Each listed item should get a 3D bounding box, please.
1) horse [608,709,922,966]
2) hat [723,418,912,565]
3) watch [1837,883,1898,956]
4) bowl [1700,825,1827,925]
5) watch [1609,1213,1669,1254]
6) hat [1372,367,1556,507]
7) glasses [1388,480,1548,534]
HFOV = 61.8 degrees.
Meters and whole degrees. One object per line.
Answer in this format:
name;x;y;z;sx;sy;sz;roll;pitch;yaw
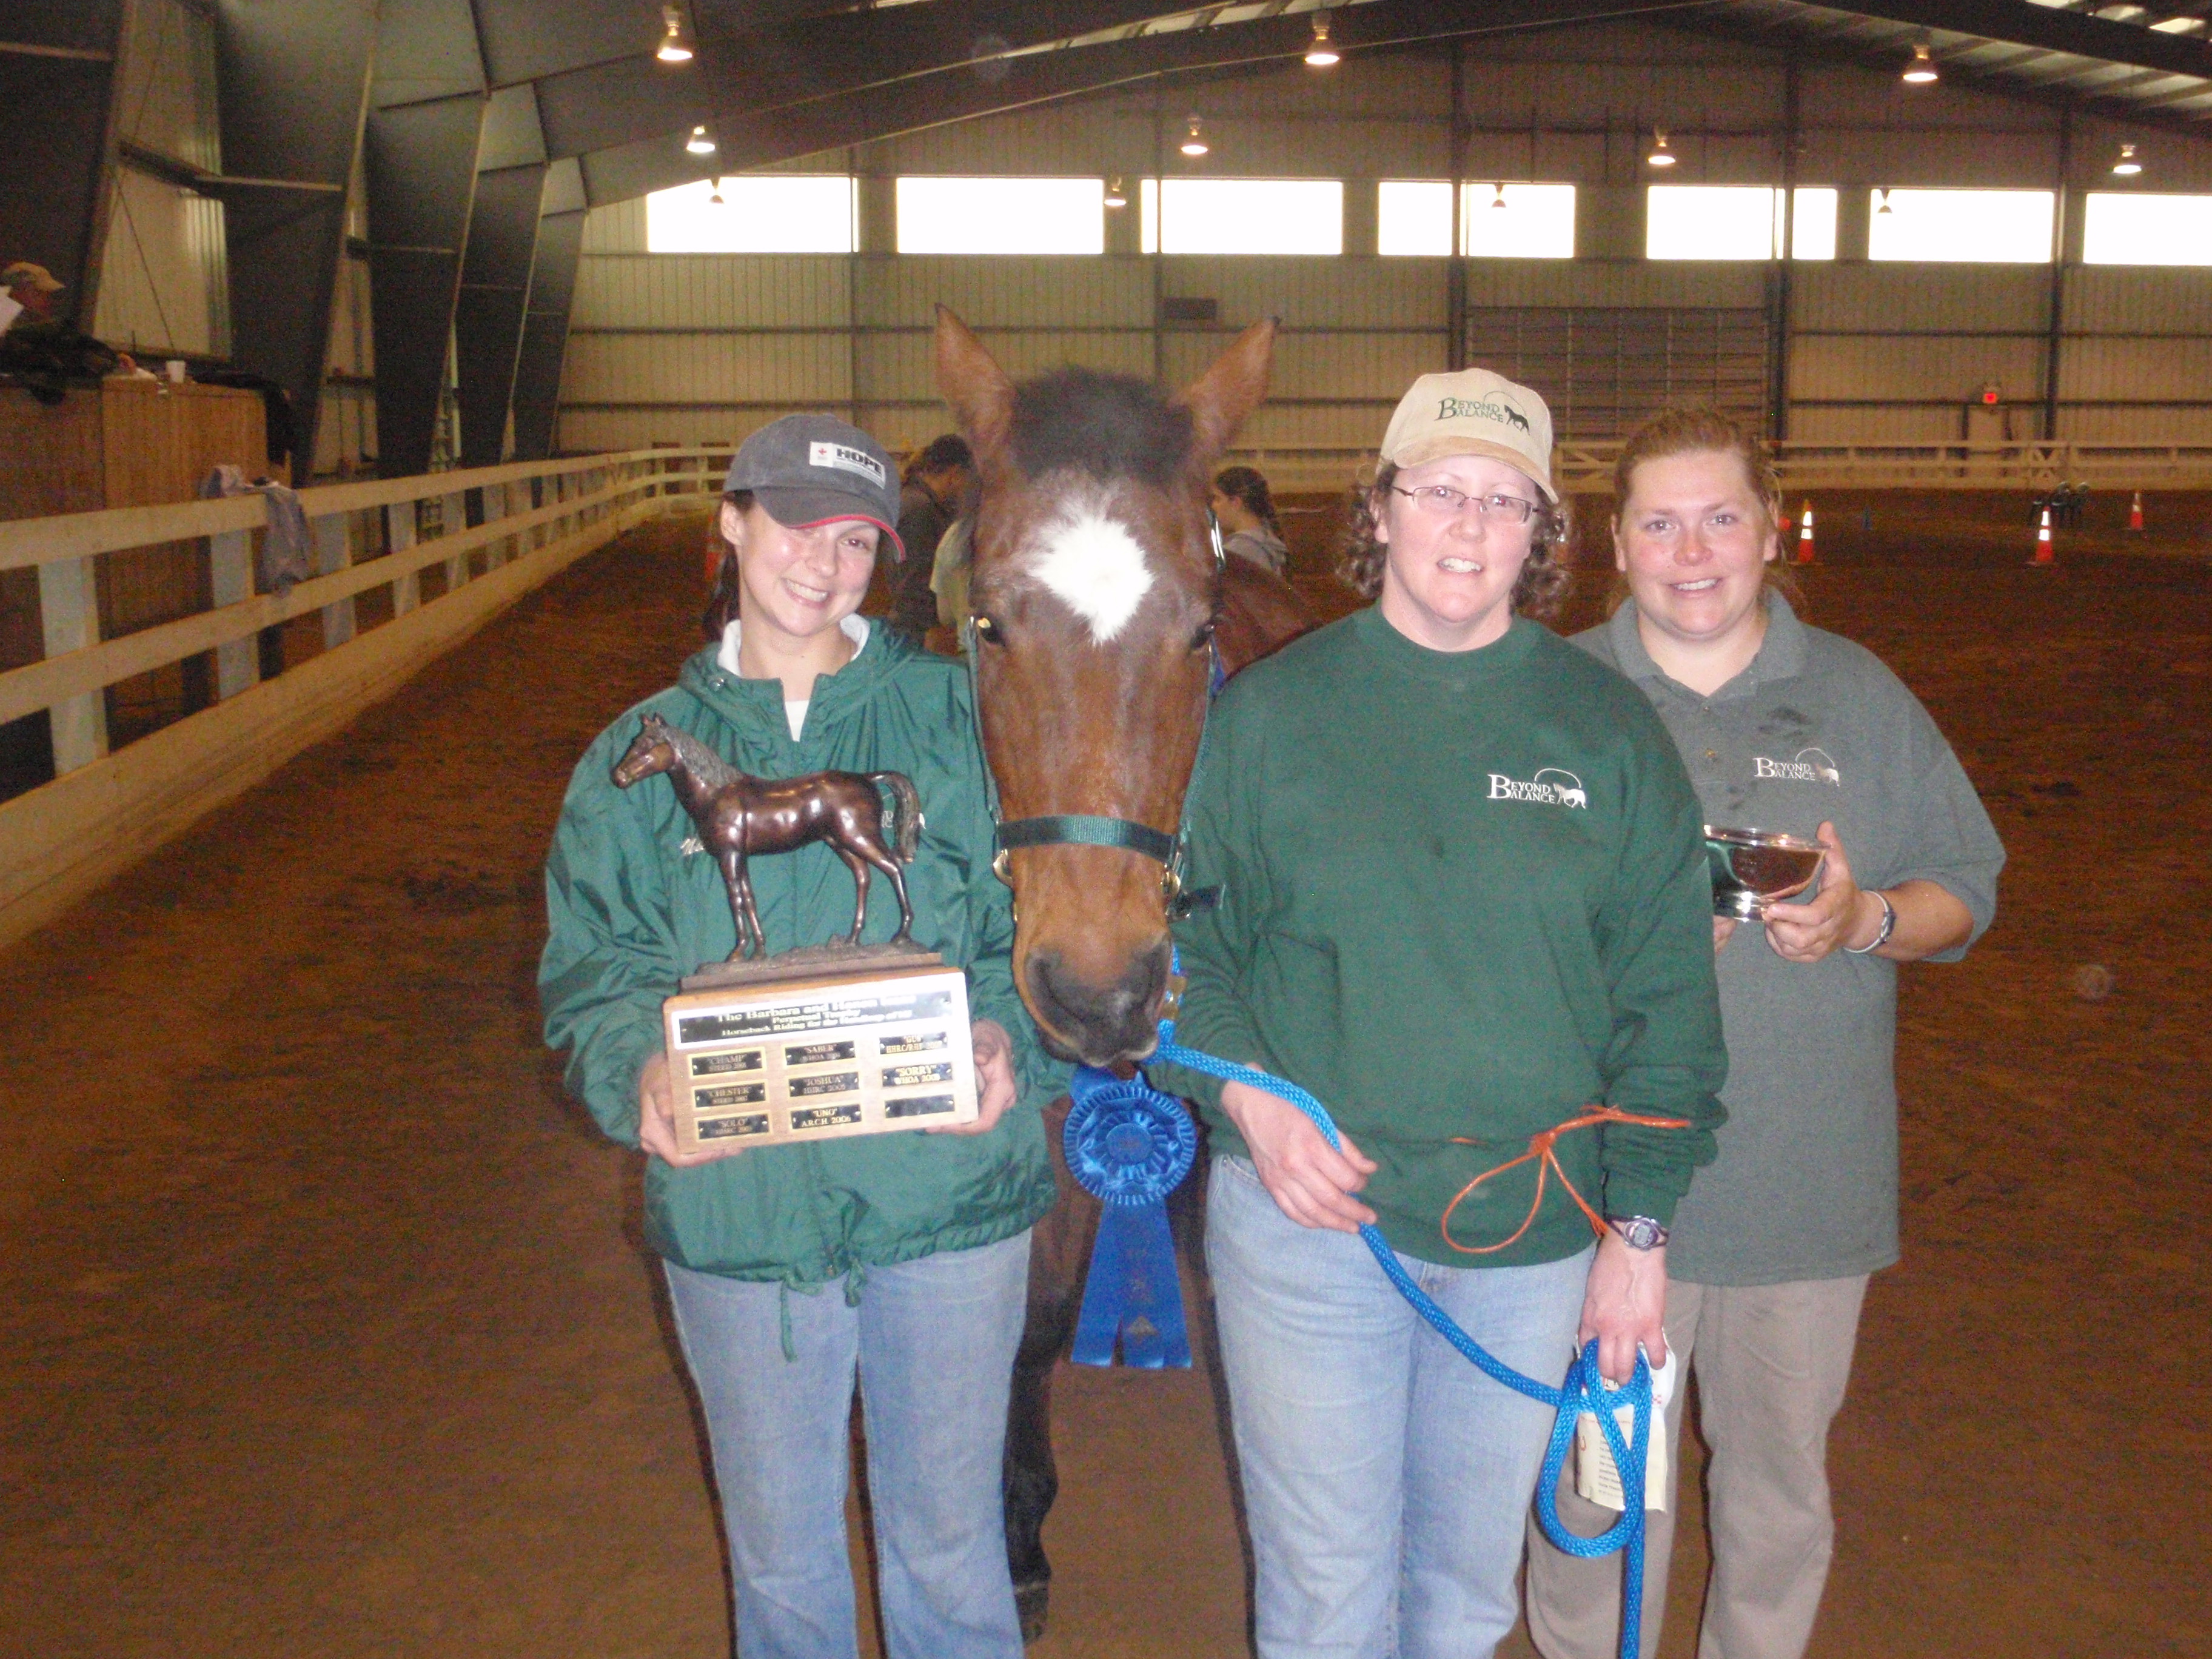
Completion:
horse;-0.530;0.010;2.895;0.463;0.394;0.119;-1;10;-19
hat;-0.476;-0.555;2.978;0.284;0.221;0.211;-2;14;-8
watch;1.307;0.159;3.135;0.084;0.098;0.036;1;2;-20
bowl;1.080;0.069;3.013;0.157;0.125;0.170;0;-1;0
watch;0.830;0.626;2.844;0.052;0.040;0.074;2;9;-5
hat;0.572;-0.636;2.966;0.186;0.135;0.254;7;14;-1
glasses;0.573;-0.508;2.892;0.236;0.064;0.102;1;15;4
